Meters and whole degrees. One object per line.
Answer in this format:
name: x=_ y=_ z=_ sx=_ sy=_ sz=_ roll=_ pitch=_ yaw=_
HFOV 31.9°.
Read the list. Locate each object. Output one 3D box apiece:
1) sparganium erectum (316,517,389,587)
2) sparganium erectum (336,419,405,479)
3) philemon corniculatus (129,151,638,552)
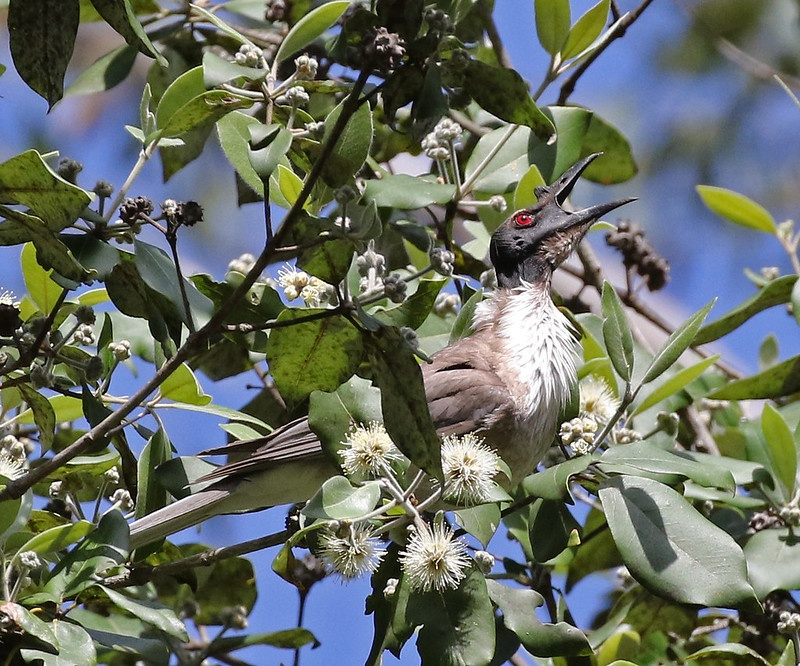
sparganium erectum: x=-0.147 y=0.746 z=4.898 sx=0.135 sy=0.161 sz=0.126 roll=2 pitch=11 yaw=-37
sparganium erectum: x=-0.098 y=0.414 z=4.923 sx=0.176 sy=0.211 sz=0.179 roll=1 pitch=6 yaw=-28
philemon corniculatus: x=-0.157 y=0.234 z=5.964 sx=2.307 sy=1.583 sz=0.626 roll=-4 pitch=4 yaw=11
